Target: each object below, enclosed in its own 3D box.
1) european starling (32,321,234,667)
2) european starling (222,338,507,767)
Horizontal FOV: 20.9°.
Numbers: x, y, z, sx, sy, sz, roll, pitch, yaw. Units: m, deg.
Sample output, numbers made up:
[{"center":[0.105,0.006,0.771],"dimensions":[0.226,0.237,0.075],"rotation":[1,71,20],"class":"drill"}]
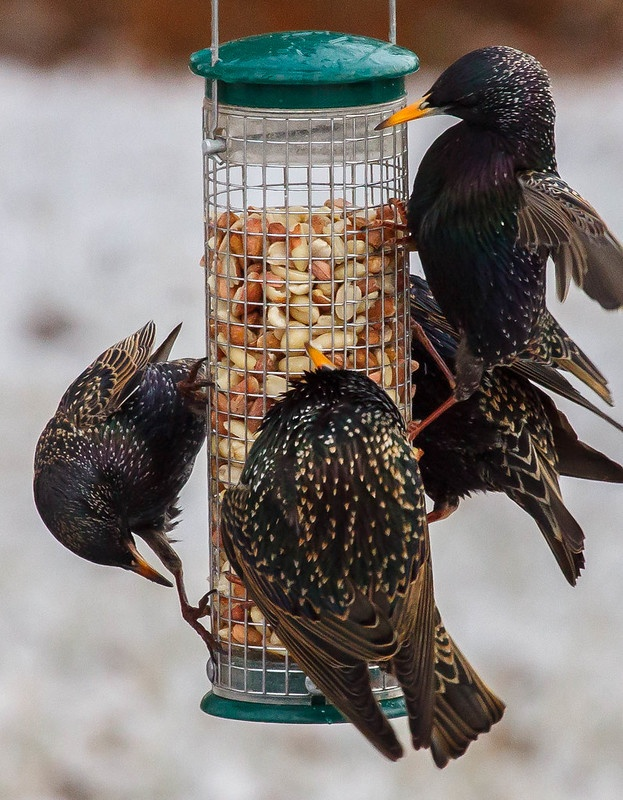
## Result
[{"center":[-0.421,0.157,4.347],"dimensions":[0.281,0.840,0.541],"rotation":[-14,-50,43],"class":"european starling"},{"center":[0.101,0.336,3.838],"dimensions":[0.481,0.815,0.872],"rotation":[-29,-25,-24],"class":"european starling"}]
